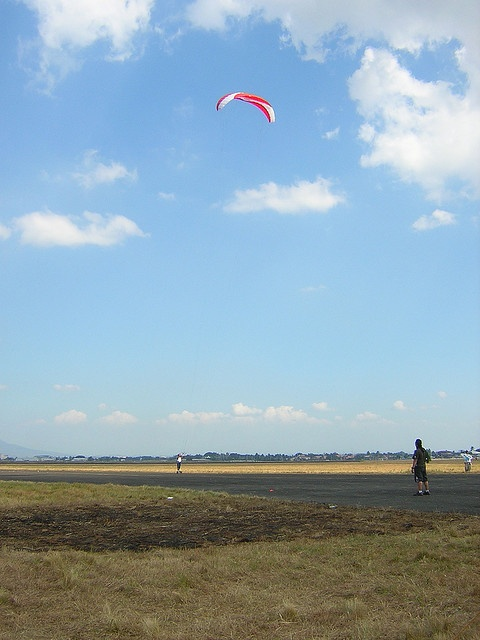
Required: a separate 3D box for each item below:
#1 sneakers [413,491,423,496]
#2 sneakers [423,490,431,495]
[{"bbox_3d":[5.985,5.892,28.162,0.299,0.219,0.120,2,20,41],"label":"sneakers"},{"bbox_3d":[6.314,5.885,28.285,0.117,0.182,0.361,1,-2,1],"label":"sneakers"}]
